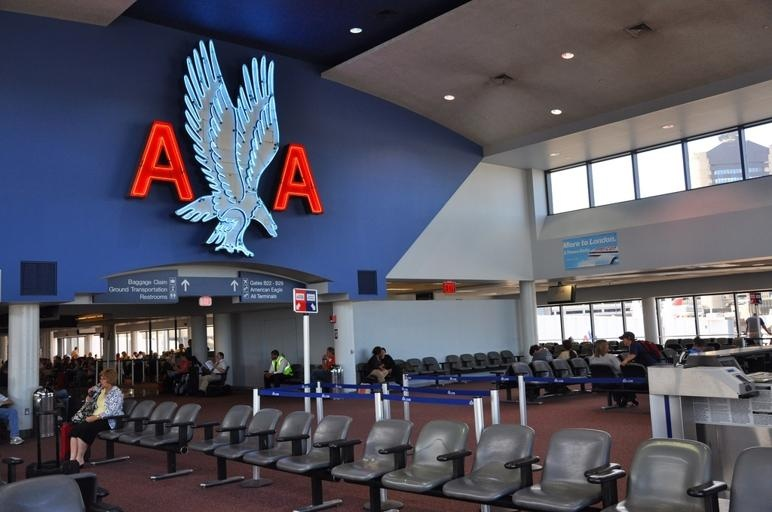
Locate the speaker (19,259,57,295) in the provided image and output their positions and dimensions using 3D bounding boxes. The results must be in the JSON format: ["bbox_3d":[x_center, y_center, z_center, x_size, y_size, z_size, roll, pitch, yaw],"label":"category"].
[{"bbox_3d":[-6.904,0.445,11.417,0.721,0.650,0.364,2,-4,-30],"label":"speaker"}]

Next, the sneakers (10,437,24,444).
[{"bbox_3d":[-7.195,3.655,11.276,0.233,0.096,0.107,-3,-8,23],"label":"sneakers"}]

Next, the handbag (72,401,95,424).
[{"bbox_3d":[-4.804,2.536,9.247,0.221,0.371,0.100,23,-30,13],"label":"handbag"}]

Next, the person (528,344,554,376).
[{"bbox_3d":[3.828,2.616,14.137,0.629,0.790,0.668,3,-10,-26],"label":"person"}]

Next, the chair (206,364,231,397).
[{"bbox_3d":[-5.176,4.008,17.718,0.795,0.821,0.707,7,-14,-24],"label":"chair"}]

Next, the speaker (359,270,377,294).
[{"bbox_3d":[-0.476,0.740,15.245,0.641,0.558,0.149,-4,0,-35],"label":"speaker"}]

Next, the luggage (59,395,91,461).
[{"bbox_3d":[-5.053,2.924,9.397,0.366,0.846,0.202,3,-14,-17],"label":"luggage"}]
